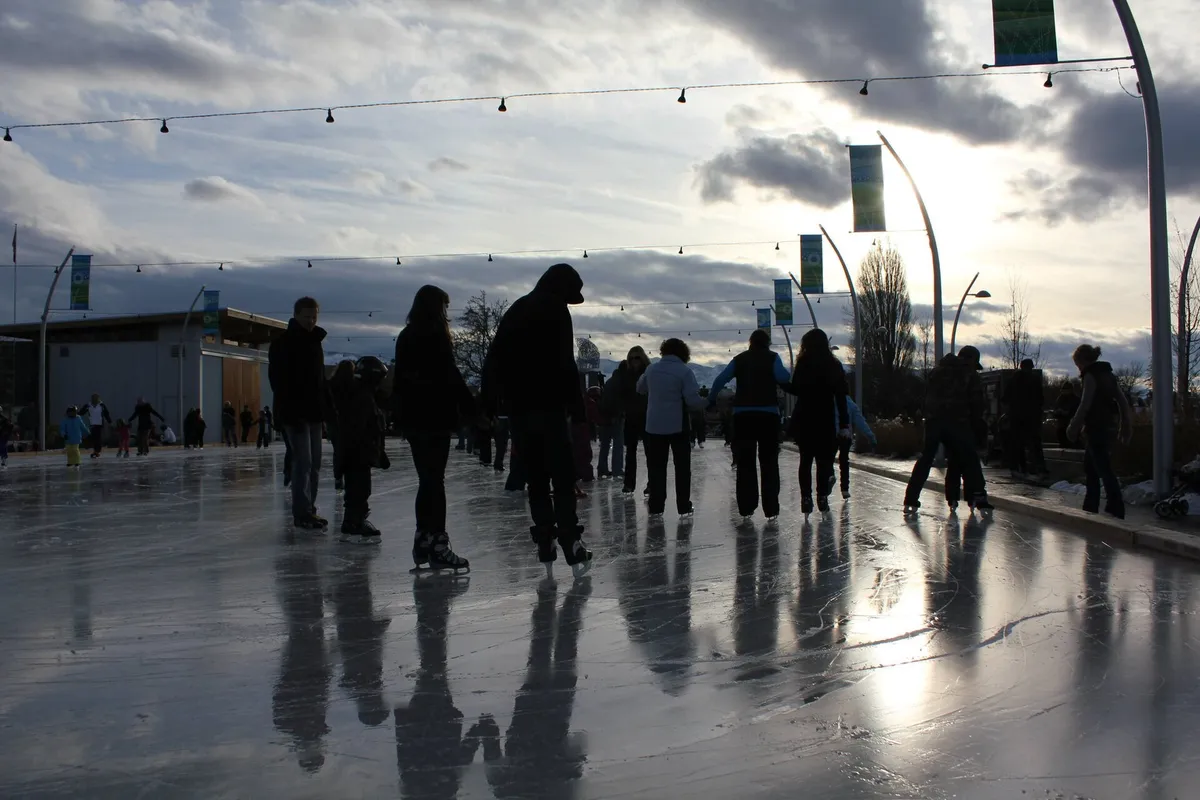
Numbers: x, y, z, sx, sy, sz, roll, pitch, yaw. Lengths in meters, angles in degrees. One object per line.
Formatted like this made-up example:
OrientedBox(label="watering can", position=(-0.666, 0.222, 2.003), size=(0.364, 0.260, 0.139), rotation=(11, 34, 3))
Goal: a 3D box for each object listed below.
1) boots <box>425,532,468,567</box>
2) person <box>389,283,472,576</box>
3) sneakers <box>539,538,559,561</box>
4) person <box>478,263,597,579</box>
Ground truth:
OrientedBox(label="boots", position=(-1.293, 1.286, 9.227), size=(0.348, 0.324, 0.259), rotation=(-1, 1, -8))
OrientedBox(label="person", position=(-1.440, 0.228, 9.351), size=(0.494, 2.423, 0.670), rotation=(-2, 1, -44))
OrientedBox(label="sneakers", position=(-0.452, 1.258, 9.189), size=(0.175, 0.203, 0.173), rotation=(0, -6, -4))
OrientedBox(label="person", position=(-0.450, 0.126, 9.237), size=(0.970, 2.544, 0.577), rotation=(0, 1, 36))
